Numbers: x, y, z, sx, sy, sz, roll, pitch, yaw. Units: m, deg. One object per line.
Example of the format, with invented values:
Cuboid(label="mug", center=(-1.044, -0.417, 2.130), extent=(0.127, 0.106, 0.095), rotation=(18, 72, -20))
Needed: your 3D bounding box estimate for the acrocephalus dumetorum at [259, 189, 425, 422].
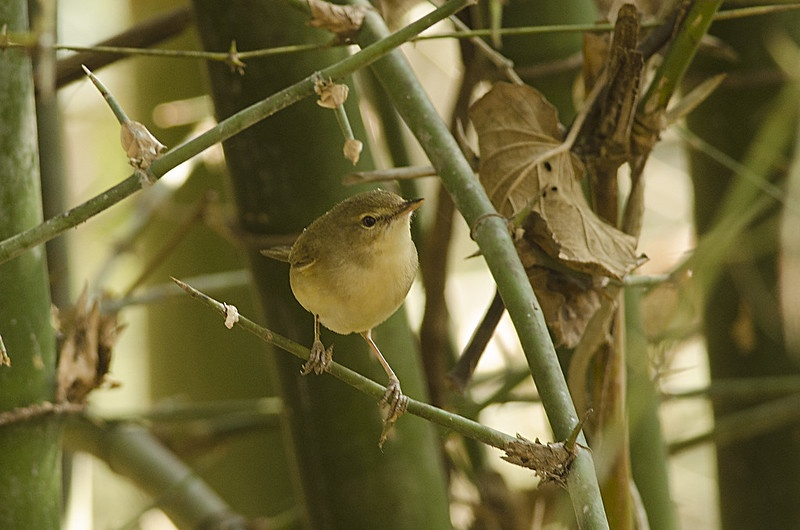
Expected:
Cuboid(label="acrocephalus dumetorum", center=(-0.164, 0.033, 3.172), extent=(0.425, 1.032, 0.431), rotation=(2, -48, -3))
